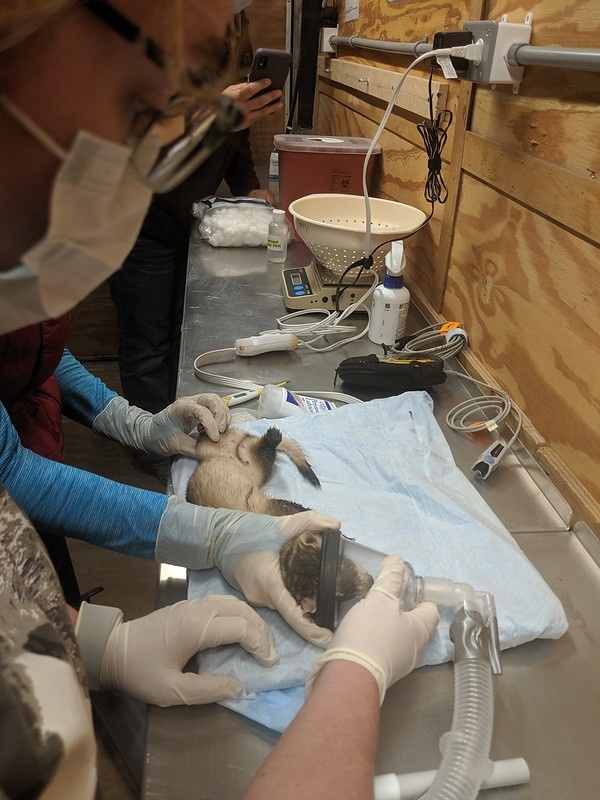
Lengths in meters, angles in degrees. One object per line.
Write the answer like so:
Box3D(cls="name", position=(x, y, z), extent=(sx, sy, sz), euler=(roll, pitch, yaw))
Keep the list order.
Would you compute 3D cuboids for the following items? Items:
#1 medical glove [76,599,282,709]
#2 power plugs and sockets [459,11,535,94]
Box3D(cls="medical glove", position=(-0.157, 0.351, 0.805), extent=(0.243, 0.106, 0.091), euler=(-9, 40, -14))
Box3D(cls="power plugs and sockets", position=(0.363, -0.653, 1.127), extent=(0.115, 0.127, 0.155), euler=(-10, 30, -20))
